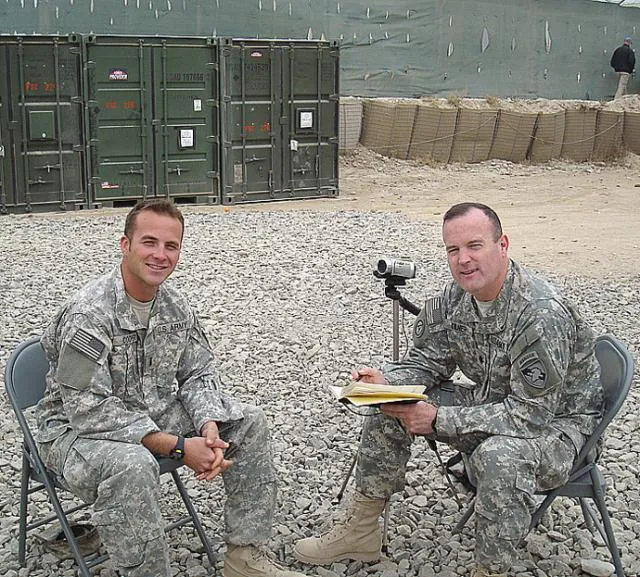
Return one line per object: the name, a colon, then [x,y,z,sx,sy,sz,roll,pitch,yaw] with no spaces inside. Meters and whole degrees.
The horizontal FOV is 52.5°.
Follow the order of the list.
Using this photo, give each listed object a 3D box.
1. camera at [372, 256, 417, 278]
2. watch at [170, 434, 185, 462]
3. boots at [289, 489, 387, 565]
camera: [0.364,-0.097,3.116,0.165,0.078,0.099,2,8,-25]
watch: [-0.501,0.565,2.314,0.053,0.084,0.078,11,45,-6]
boots: [0.102,0.993,2.825,0.489,0.371,0.198,5,8,-2]
